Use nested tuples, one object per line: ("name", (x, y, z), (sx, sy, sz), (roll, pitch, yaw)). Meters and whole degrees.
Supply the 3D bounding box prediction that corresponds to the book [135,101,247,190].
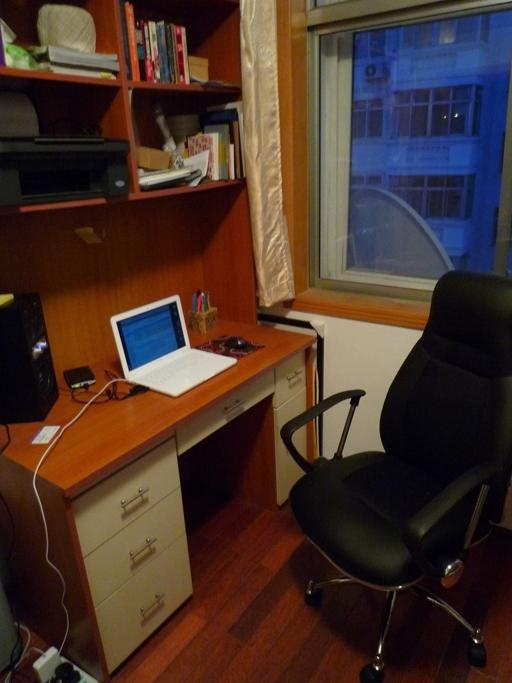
("book", (-0.233, -0.703, 1.854), (0.372, 0.165, 0.316), (9, 28, 24))
